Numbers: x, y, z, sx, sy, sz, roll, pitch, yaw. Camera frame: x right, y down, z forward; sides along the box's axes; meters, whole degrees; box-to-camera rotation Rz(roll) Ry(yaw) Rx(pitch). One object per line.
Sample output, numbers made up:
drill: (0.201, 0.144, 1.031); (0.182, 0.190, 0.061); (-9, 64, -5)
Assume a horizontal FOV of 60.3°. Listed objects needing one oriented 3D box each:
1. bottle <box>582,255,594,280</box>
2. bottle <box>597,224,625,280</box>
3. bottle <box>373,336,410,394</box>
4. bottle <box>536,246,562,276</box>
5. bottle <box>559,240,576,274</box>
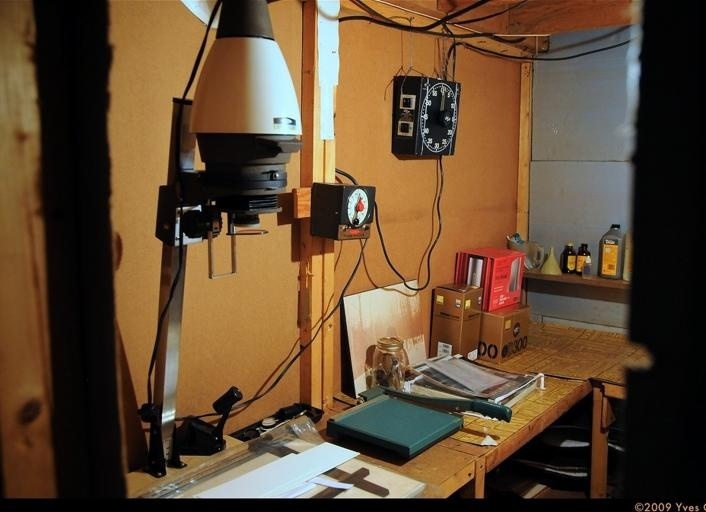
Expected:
bottle: (1.241, 0.046, 3.212); (0.049, 0.101, 0.097); (5, 9, 31)
bottle: (1.319, -0.029, 3.108); (0.145, 0.276, 0.094); (7, 10, 39)
bottle: (0.145, 0.424, 2.403); (0.170, 0.283, 0.163); (0, 0, 0)
bottle: (1.067, 0.026, 3.367); (0.135, 0.164, 0.134); (7, -2, -20)
bottle: (1.175, 0.004, 3.322); (0.057, 0.167, 0.117); (-2, 8, -14)
